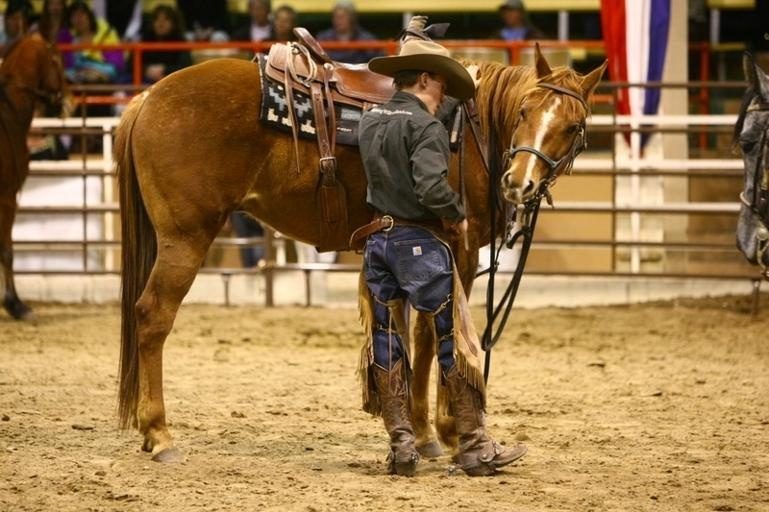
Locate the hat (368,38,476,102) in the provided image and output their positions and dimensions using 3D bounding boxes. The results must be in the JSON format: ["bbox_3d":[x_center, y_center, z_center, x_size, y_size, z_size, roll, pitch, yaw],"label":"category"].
[{"bbox_3d":[0.440,-1.646,14.836,0.684,0.270,0.568,25,-17,-29],"label":"hat"}]
